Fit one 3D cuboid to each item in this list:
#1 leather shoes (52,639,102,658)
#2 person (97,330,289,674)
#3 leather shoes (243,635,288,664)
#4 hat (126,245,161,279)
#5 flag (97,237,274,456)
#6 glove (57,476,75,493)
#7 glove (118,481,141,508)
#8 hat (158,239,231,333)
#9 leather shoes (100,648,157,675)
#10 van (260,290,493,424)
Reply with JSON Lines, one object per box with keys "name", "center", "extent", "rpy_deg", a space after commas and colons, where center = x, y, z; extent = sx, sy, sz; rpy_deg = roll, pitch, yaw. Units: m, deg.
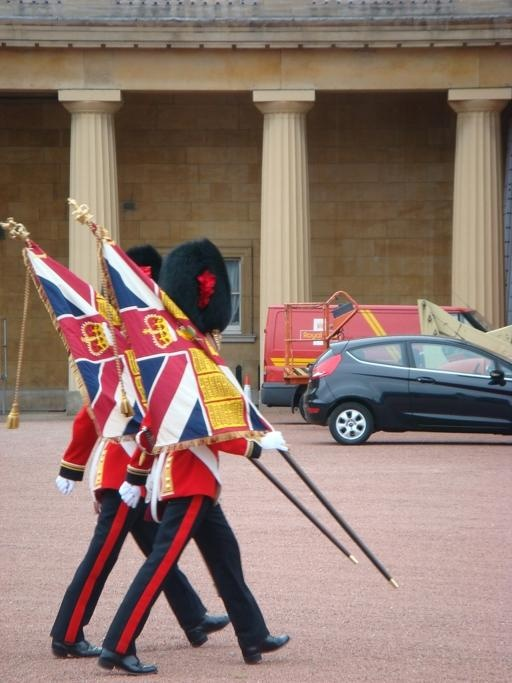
{"name": "leather shoes", "center": [-0.831, 1.408, 6.183], "extent": [0.248, 0.106, 0.088], "rpy_deg": [0, -1, 0]}
{"name": "person", "center": [-0.277, 0.899, 6.019], "extent": [0.833, 1.106, 0.352], "rpy_deg": [1, 4, -9]}
{"name": "leather shoes", "center": [0.030, 1.390, 6.087], "extent": [0.199, 0.111, 0.064], "rpy_deg": [-23, 11, -17]}
{"name": "hat", "center": [-0.556, -0.412, 6.856], "extent": [0.184, 0.043, 0.184], "rpy_deg": [30, 10, 31]}
{"name": "flag", "center": [-0.363, -0.081, 5.936], "extent": [0.569, 1.249, 0.105], "rpy_deg": [-7, 33, 15]}
{"name": "glove", "center": [-0.920, 0.701, 6.412], "extent": [0.082, 0.106, 0.051], "rpy_deg": [2, 14, 2]}
{"name": "glove", "center": [-0.567, 0.680, 6.017], "extent": [0.088, 0.113, 0.053], "rpy_deg": [8, 8, -3]}
{"name": "hat", "center": [-0.308, -0.267, 6.341], "extent": [0.298, 0.448, 0.318], "rpy_deg": [-6, 3, -12]}
{"name": "leather shoes", "center": [-0.567, 1.400, 5.910], "extent": [0.289, 0.121, 0.097], "rpy_deg": [7, -2, 0]}
{"name": "van", "center": [2.051, 0.131, 20.487], "extent": [3.855, 1.894, 1.345], "rpy_deg": [-4, 2, 14]}
